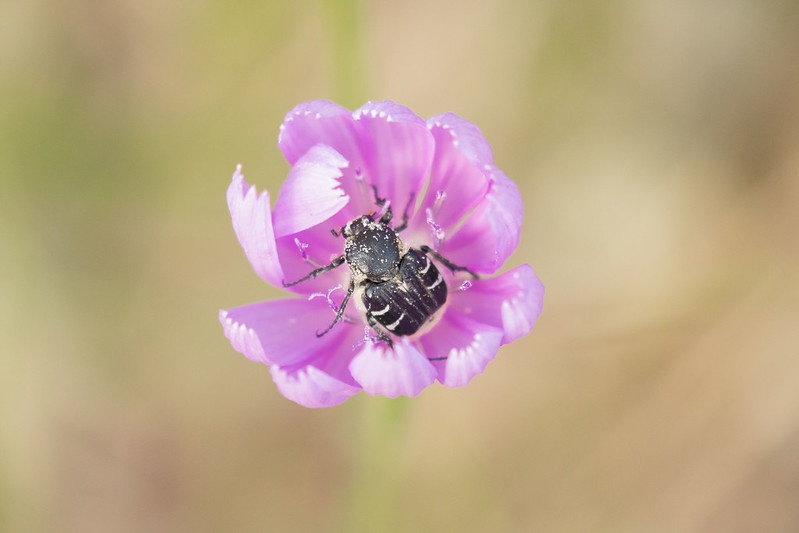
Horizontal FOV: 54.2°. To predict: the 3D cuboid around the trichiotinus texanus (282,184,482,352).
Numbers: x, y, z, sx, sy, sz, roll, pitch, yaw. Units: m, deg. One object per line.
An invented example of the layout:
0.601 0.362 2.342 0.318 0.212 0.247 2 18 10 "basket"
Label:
-0.041 -0.044 3.430 0.736 0.877 0.233 -21 5 -17 "trichiotinus texanus"
